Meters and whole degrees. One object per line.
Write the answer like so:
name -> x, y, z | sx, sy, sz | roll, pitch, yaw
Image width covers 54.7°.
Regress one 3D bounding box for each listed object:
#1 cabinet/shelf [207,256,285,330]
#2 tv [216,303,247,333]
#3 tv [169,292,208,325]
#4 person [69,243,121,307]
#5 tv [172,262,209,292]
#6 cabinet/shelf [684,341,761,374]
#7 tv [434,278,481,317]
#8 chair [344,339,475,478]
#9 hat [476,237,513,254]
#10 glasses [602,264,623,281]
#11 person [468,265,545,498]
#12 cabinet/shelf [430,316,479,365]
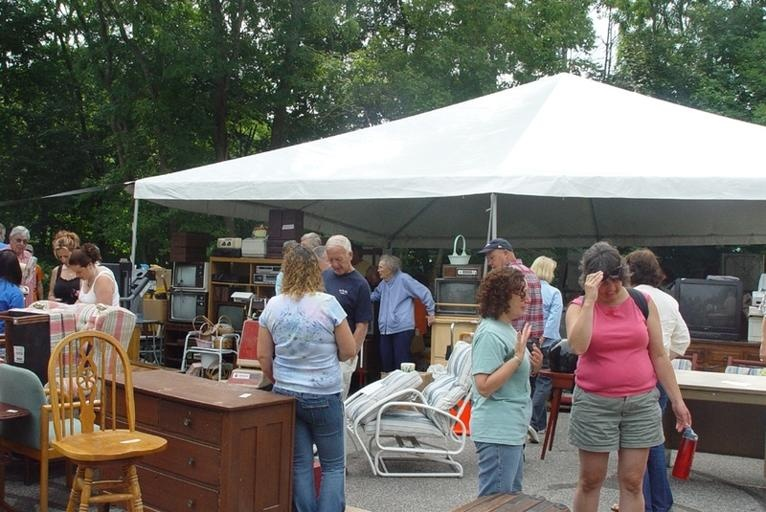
cabinet/shelf -> -2.108, 0.585, 11.252 | 1.176, 1.114, 0.373 | 3, -1, 7
tv -> -2.456, 1.021, 12.077 | 0.474, 0.446, 0.263 | -1, -6, 20
tv -> -3.342, 0.870, 12.642 | 0.786, 0.549, 0.186 | -1, -3, 35
person -> -3.596, 0.278, 9.211 | 0.551, 0.861, 0.883 | -10, 19, -35
tv -> -3.238, 0.362, 12.685 | 0.768, 0.545, 0.446 | 0, -2, 23
cabinet/shelf -> 4.984, 1.479, 10.779 | 0.739, 0.678, 0.295 | -1, -6, 22
tv -> 1.123, 0.626, 11.408 | 0.784, 0.662, 0.532 | -1, -6, 16
chair -> 0.319, 1.931, 9.182 | 1.678, 1.590, 1.275 | 2, -7, -5
hat -> 1.418, -0.122, 9.242 | 0.324, 0.219, 0.450 | 1, -3, 6
glasses -> 2.099, 0.159, 6.736 | 0.194, 0.127, 0.038 | 2, -2, -16
person -> 1.075, 1.141, 6.735 | 0.534, 2.081, 0.317 | 1, -2, 9
cabinet/shelf -> 1.028, 1.242, 11.078 | 0.719, 1.067, 0.726 | 1, 0, 16
